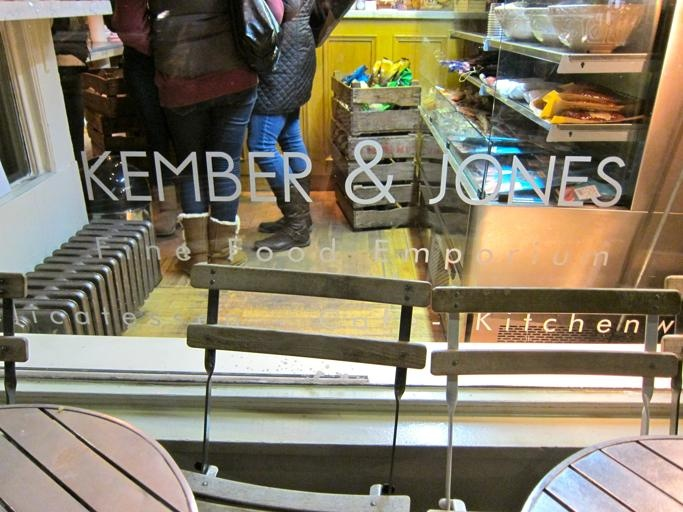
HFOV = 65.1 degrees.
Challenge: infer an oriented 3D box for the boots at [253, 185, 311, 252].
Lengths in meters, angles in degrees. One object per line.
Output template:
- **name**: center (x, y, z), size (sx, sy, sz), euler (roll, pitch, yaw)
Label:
- **boots**: center (-0.170, -0.133, 1.848), size (0.254, 0.252, 0.139), euler (-1, 31, -5)

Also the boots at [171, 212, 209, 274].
- **boots**: center (-0.509, -0.055, 1.812), size (0.128, 0.188, 0.153), euler (-16, 41, -34)

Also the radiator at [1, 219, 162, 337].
- **radiator**: center (-0.921, 0.058, 1.867), size (0.284, 0.325, 0.480), euler (4, -23, -7)

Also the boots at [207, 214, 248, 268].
- **boots**: center (-0.399, -0.042, 1.904), size (0.102, 0.176, 0.195), euler (14, 13, 35)
